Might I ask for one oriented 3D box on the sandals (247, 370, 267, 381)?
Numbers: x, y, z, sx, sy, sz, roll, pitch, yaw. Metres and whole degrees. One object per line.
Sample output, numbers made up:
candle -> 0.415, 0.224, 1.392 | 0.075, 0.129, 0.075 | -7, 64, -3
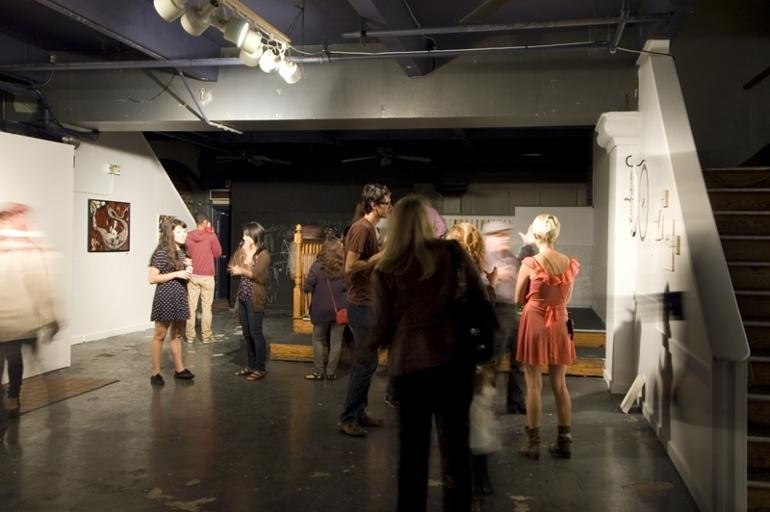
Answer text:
sandals -> -1.665, 1.574, 7.177 | 0.106, 0.083, 0.198 | -5, -9, 30

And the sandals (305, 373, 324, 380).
sandals -> -0.915, 1.593, 7.206 | 0.238, 0.093, 0.094 | 3, -3, 3

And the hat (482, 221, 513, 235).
hat -> 1.131, -0.287, 5.792 | 0.185, 0.085, 0.258 | -1, -3, -23

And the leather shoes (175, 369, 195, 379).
leather shoes -> -2.559, 1.522, 7.053 | 0.223, 0.088, 0.119 | -2, -2, 20

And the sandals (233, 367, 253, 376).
sandals -> -1.875, 1.556, 7.340 | 0.269, 0.105, 0.098 | 3, -2, 4

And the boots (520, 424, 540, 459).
boots -> 1.311, 1.680, 4.975 | 0.168, 0.305, 0.133 | 1, 6, 12

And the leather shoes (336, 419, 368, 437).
leather shoes -> -0.330, 1.684, 5.337 | 0.305, 0.233, 0.123 | -9, -13, 31

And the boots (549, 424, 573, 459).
boots -> 1.617, 1.721, 5.106 | 0.138, 0.268, 0.283 | 9, -13, -16

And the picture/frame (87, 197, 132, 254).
picture/frame -> -4.899, -0.537, 9.737 | 0.111, 1.041, 1.050 | 2, 1, 25
